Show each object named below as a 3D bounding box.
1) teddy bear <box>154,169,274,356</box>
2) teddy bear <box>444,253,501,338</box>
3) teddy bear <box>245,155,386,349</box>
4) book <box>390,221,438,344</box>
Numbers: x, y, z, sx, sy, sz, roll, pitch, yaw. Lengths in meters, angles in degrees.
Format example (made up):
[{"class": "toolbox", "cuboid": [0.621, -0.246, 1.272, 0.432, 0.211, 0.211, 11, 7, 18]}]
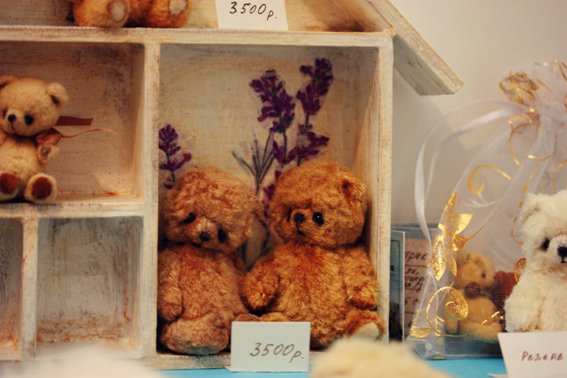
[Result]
[{"class": "teddy bear", "cuboid": [-0.249, 0.214, 1.875, 0.433, 0.542, 0.390, 2, -4, -31]}, {"class": "teddy bear", "cuboid": [0.554, 0.318, 1.850, 0.161, 0.246, 0.050, -1, -3, 11]}, {"class": "teddy bear", "cuboid": [0.069, 0.190, 1.866, 0.447, 0.517, 0.380, -3, 2, 11]}, {"class": "book", "cuboid": [0.405, 0.286, 1.934, 0.147, 0.366, 0.269, -1, -3, 12]}]
